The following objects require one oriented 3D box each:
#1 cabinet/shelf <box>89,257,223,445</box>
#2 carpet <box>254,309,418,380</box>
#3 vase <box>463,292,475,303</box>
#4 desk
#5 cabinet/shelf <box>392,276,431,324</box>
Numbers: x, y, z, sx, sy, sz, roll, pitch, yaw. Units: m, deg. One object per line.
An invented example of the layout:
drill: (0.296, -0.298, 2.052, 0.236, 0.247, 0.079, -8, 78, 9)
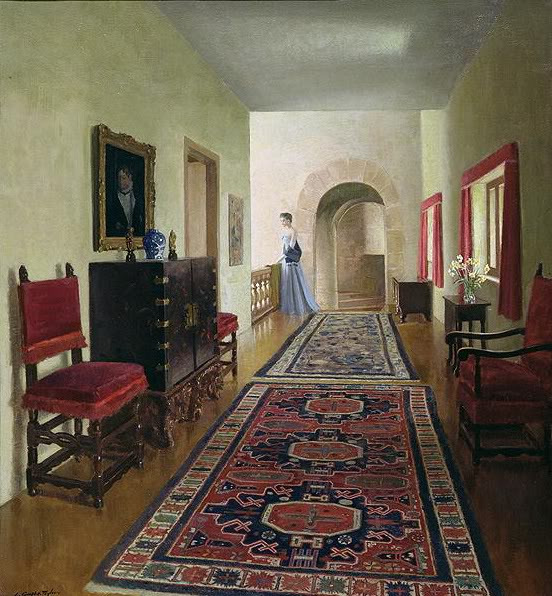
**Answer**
cabinet/shelf: (-0.965, 0.387, 4.245, 0.567, 1.473, 1.526, 1, 4, 8)
carpet: (1.302, 0.649, 9.036, 2.300, 0.104, 7.344, -1, 5, 11)
vase: (2.336, 0.004, 5.889, 0.092, 0.077, 0.119, -1, 2, 1)
desk: (2.476, 0.416, 6.092, 0.351, 0.805, 0.748, 2, 8, 30)
cabinet/shelf: (3.062, -0.089, 10.836, 0.640, 0.901, 1.678, -2, 11, 15)
